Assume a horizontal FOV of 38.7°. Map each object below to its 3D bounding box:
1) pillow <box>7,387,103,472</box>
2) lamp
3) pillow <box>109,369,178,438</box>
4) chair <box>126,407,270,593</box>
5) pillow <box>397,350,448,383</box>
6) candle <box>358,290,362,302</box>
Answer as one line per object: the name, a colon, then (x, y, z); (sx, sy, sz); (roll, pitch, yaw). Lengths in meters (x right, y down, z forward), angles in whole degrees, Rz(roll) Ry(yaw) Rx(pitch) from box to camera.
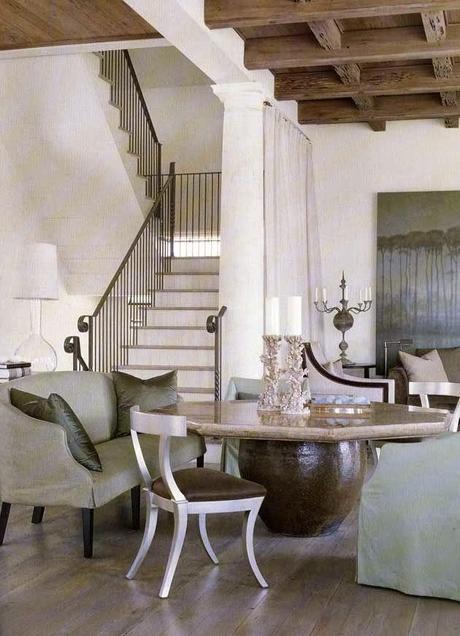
pillow: (-0.796, 0.494, 2.879); (0.492, 0.342, 0.234); (-2, -3, 35)
lamp: (-1.468, -0.062, 4.954); (0.340, 1.104, 0.330); (-1, -5, 17)
pillow: (-0.457, 0.447, 3.392); (0.327, 0.325, 0.128); (-4, -29, -22)
chair: (-0.129, 0.688, 2.530); (0.540, 0.665, 0.529); (-2, -4, 23)
pillow: (1.708, 0.437, 5.805); (0.353, 0.248, 0.604); (-2, -3, 39)
candle: (1.386, -0.233, 6.978); (0.025, 0.124, 0.064); (0, -3, -4)
